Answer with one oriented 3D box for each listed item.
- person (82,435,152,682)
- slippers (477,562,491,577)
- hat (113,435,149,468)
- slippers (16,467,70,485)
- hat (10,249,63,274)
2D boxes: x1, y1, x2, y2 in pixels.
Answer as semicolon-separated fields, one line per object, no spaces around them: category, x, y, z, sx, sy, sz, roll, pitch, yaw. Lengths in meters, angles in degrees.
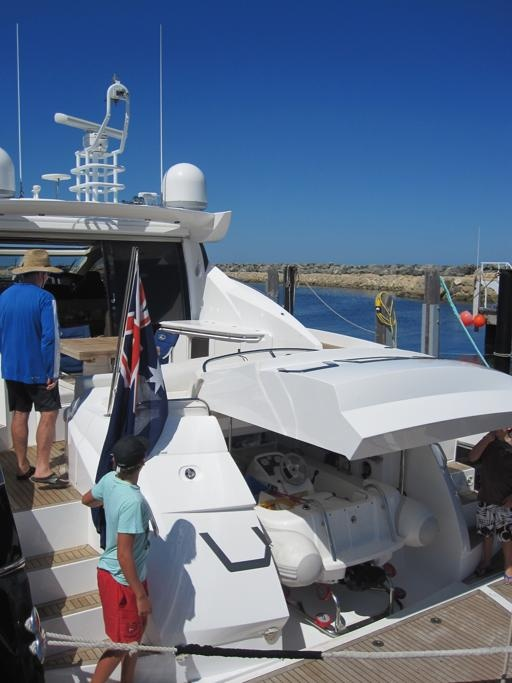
person;-0.588;1.016;2.801;0.268;1.202;0.483;-1;6;-12
slippers;1.551;1.542;4.347;0.048;0.035;0.131;-2;10;44
hat;-0.538;0.474;2.784;0.117;0.076;0.149;10;40;11
slippers;-1.273;0.820;3.849;0.323;0.087;0.113;6;6;2
hat;-1.368;-0.501;4.030;0.240;0.113;0.229;3;13;1
